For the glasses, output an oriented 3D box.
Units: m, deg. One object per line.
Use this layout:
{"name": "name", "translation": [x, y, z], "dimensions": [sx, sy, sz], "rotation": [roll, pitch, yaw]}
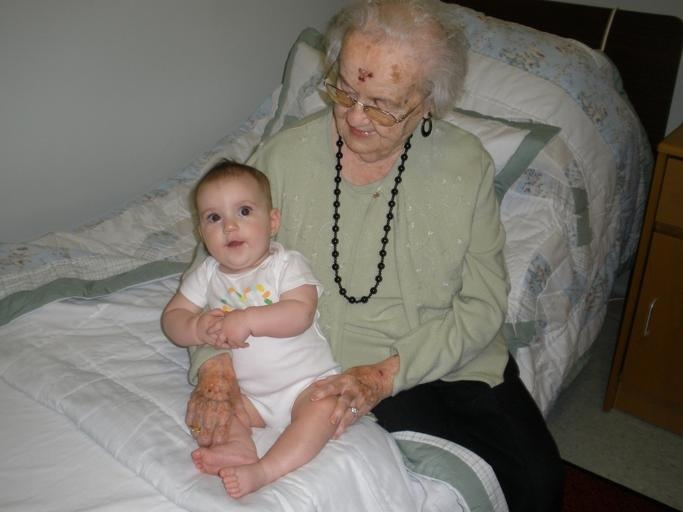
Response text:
{"name": "glasses", "translation": [0.079, -0.423, 1.518], "dimensions": [0.277, 0.107, 0.108], "rotation": [12, 26, 5]}
